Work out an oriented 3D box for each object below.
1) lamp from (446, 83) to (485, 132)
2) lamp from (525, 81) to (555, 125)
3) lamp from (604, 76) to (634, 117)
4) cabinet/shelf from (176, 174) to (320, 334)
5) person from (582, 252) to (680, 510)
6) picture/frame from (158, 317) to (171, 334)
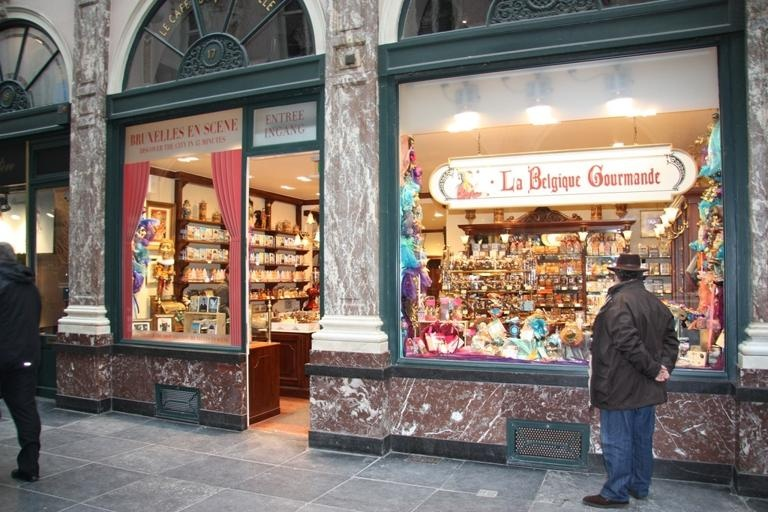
[{"bbox_3d":[0.947,-1.736,7.339,0.461,0.478,0.497,3,8,31],"label":"lamp"},{"bbox_3d":[1.756,-1.744,7.117,0.457,0.483,0.301,3,11,22],"label":"lamp"},{"bbox_3d":[2.591,-1.769,7.080,0.403,0.408,0.396,2,6,25],"label":"lamp"},{"bbox_3d":[-2.170,-0.056,10.017,0.842,2.318,2.660,3,5,40],"label":"cabinet/shelf"},{"bbox_3d":[2.315,1.187,6.099,0.902,2.339,0.571,-6,10,-30],"label":"person"},{"bbox_3d":[-2.984,0.944,8.648,0.214,0.229,0.033,-5,-19,11],"label":"picture/frame"}]
